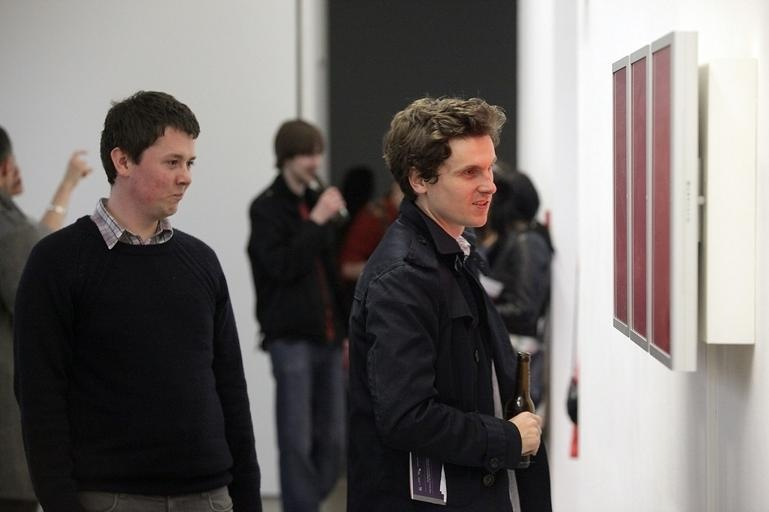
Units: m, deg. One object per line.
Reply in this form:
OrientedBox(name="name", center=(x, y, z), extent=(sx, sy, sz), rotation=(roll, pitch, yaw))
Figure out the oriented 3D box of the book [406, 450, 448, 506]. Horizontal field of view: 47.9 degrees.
OrientedBox(name="book", center=(0.134, 0.665, 2.589), extent=(0.149, 0.234, 0.022), rotation=(-1, -7, -9))
